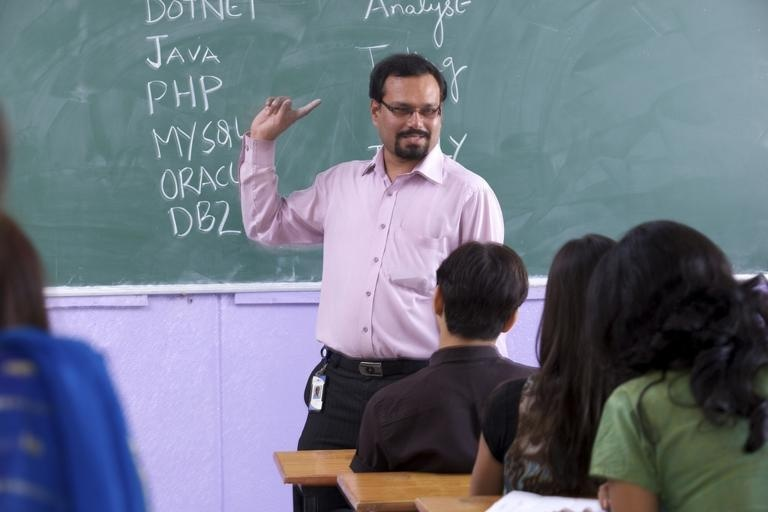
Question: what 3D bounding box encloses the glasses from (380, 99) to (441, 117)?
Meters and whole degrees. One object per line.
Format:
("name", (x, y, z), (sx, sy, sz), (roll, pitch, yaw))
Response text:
("glasses", (0.090, -0.505, 2.598), (0.206, 0.065, 0.078), (1, -3, -4))
